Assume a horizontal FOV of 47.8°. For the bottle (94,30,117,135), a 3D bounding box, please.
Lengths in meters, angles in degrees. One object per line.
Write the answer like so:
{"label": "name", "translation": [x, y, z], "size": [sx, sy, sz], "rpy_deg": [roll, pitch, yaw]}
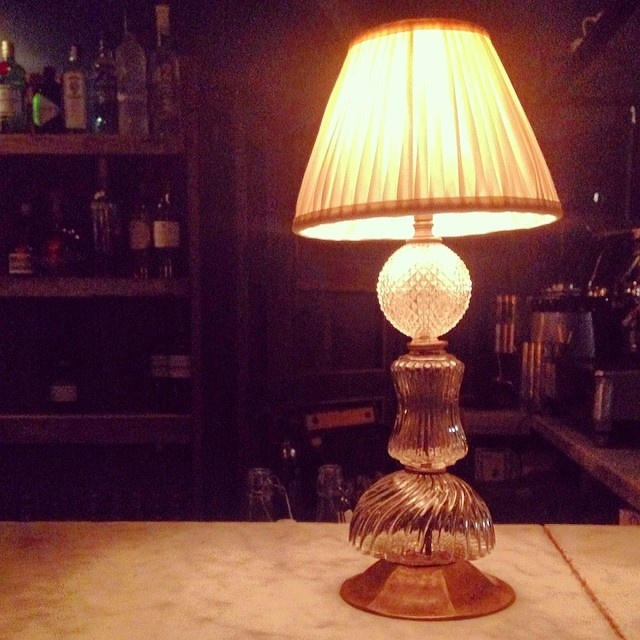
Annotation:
{"label": "bottle", "translation": [-0.579, -0.611, 1.949], "size": [0.073, 0.373, 0.021], "rpy_deg": [-3, -28, -11]}

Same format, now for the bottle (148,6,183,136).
{"label": "bottle", "translation": [-0.408, -0.642, 1.896], "size": [0.080, 0.340, 0.064], "rpy_deg": [-1, 4, -14]}

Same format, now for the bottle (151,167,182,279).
{"label": "bottle", "translation": [-0.437, -0.257, 2.036], "size": [0.061, 0.309, 0.070], "rpy_deg": [-4, -6, 22]}

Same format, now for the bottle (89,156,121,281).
{"label": "bottle", "translation": [-0.616, -0.283, 2.044], "size": [0.067, 0.337, 0.069], "rpy_deg": [-3, -8, 0]}

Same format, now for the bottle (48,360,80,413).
{"label": "bottle", "translation": [-0.718, 0.186, 2.012], "size": [0.064, 0.110, 0.072], "rpy_deg": [-13, -11, 30]}

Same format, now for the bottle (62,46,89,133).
{"label": "bottle", "translation": [-0.652, -0.615, 1.913], "size": [0.062, 0.235, 0.060], "rpy_deg": [0, 4, 0]}

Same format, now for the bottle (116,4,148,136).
{"label": "bottle", "translation": [-0.503, -0.637, 1.918], "size": [0.076, 0.374, 0.021], "rpy_deg": [-2, -14, -25]}

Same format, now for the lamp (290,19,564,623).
{"label": "lamp", "translation": [0.153, 0.009, 1.069], "size": [0.390, 0.833, 0.390], "rpy_deg": [3, 5, 37]}
